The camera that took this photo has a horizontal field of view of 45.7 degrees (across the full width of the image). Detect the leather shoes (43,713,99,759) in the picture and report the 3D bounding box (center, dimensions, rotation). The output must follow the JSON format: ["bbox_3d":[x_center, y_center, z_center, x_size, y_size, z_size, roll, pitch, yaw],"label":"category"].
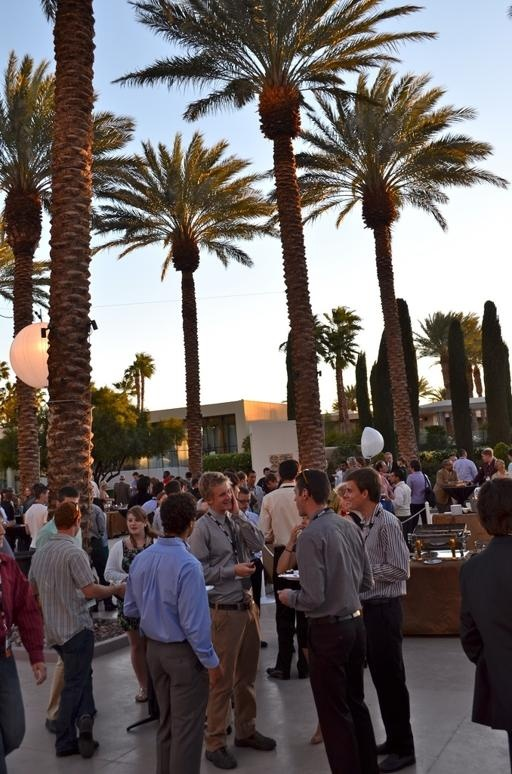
[{"bbox_3d":[-1.245,2.432,4.233,0.281,0.251,0.268,-6,-6,-18],"label":"leather shoes"}]

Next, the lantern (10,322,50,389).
[{"bbox_3d":[-3.212,-0.445,8.685,0.510,1.031,1.041,-5,-6,-23],"label":"lantern"}]
